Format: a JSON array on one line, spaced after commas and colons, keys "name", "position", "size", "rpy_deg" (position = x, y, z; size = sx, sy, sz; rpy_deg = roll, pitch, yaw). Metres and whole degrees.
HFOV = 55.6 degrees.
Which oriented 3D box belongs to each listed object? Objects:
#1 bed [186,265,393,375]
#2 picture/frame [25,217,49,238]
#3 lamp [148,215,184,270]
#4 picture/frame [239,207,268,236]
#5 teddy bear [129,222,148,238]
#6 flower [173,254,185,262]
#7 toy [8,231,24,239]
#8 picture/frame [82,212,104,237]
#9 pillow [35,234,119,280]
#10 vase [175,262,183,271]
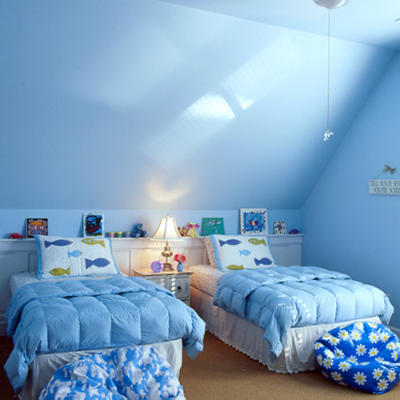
[{"name": "bed", "position": [0.545, 1.198, 3.741], "size": [0.858, 0.498, 1.389], "rpy_deg": [0, 0, -29]}, {"name": "picture/frame", "position": [-1.828, 0.304, 4.240], "size": [0.157, 0.198, 0.061], "rpy_deg": [14, -15, -32]}, {"name": "lamp", "position": [-0.405, 0.499, 4.576], "size": [0.350, 0.626, 0.623], "rpy_deg": [0, 1, -7]}, {"name": "picture/frame", "position": [0.733, 0.301, 5.315], "size": [0.302, 0.365, 0.024], "rpy_deg": [2, -6, -22]}, {"name": "teddy bear", "position": [-0.755, 0.395, 4.712], "size": [0.211, 0.259, 0.141], "rpy_deg": [3, -8, -38]}, {"name": "flower", "position": [-0.235, 0.664, 4.449], "size": [0.090, 0.072, 0.107], "rpy_deg": [23, -44, 2]}, {"name": "toy", "position": [-2.015, 0.383, 4.157], "size": [0.154, 0.065, 0.128], "rpy_deg": [0, 0, -27]}, {"name": "picture/frame", "position": [-1.274, 0.290, 4.493], "size": [0.225, 0.323, 0.039], "rpy_deg": [1, -7, -27]}, {"name": "pillow", "position": [-1.274, 0.581, 3.918], "size": [0.620, 0.467, 0.184], "rpy_deg": [0, -18, -27]}, {"name": "vase", "position": [-0.228, 0.758, 4.412], "size": [0.073, 0.121, 0.072], "rpy_deg": [5, 6, 42]}]
